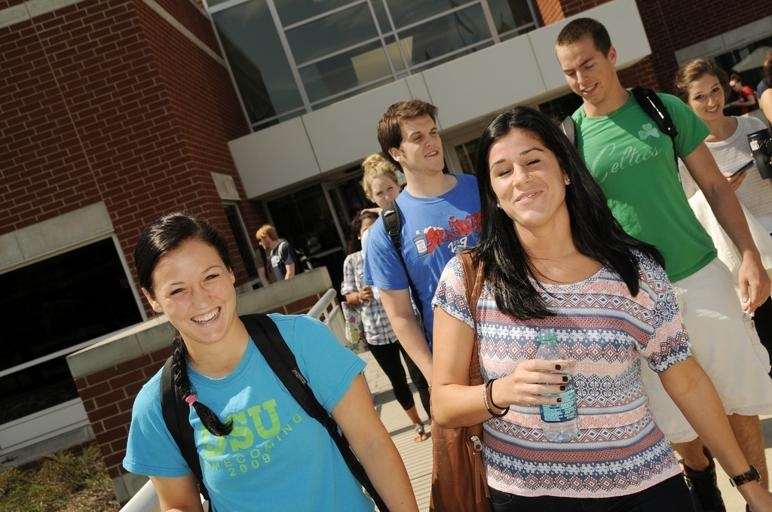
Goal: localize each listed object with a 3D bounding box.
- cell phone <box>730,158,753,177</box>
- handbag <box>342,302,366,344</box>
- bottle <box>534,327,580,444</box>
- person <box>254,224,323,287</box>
[{"bbox_3d":[2.936,-0.728,4.685,0.270,0.028,0.146,-41,-1,-33],"label":"cell phone"},{"bbox_3d":[-0.370,0.747,6.375,0.236,0.584,0.250,0,46,10],"label":"handbag"},{"bbox_3d":[0.784,0.618,2.631,0.190,0.549,0.156,-12,6,12],"label":"bottle"},{"bbox_3d":[-1.816,-0.012,10.374,0.616,1.204,0.694,-31,-15,-10],"label":"person"}]
